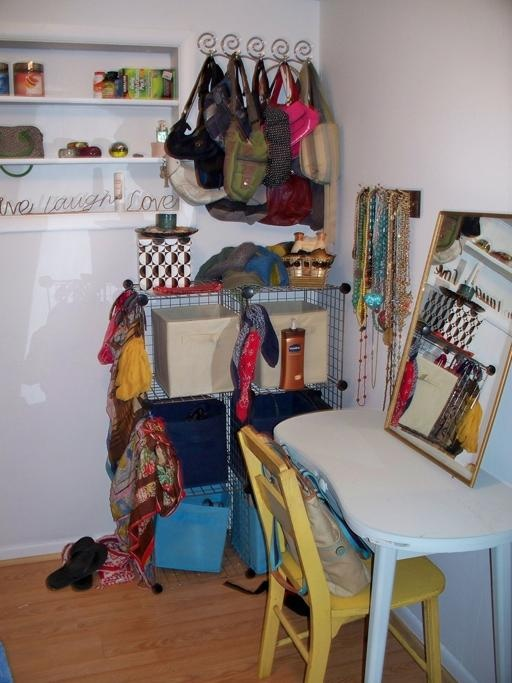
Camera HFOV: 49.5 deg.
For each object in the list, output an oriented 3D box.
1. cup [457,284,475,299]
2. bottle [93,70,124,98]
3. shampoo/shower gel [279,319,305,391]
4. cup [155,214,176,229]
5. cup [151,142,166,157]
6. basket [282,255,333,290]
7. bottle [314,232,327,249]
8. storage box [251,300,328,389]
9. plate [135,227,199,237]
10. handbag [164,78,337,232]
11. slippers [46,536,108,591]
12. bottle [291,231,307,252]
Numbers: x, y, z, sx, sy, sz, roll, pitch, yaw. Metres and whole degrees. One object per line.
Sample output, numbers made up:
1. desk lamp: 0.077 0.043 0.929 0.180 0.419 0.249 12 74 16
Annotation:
1. cup: 0.523 -0.125 1.377 0.032 0.024 0.031 4 3 0
2. bottle: -0.564 -0.990 2.169 0.116 0.114 0.121 3 15 5
3. shampoo/shower gel: 0.140 0.057 2.137 0.093 0.254 0.051 -1 10 -3
4. cup: -0.340 -0.457 2.106 0.065 0.059 0.064 1 16 0
5. cup: -0.394 -0.774 2.231 0.069 0.064 0.066 2 11 0
6. basket: 0.202 -0.272 2.167 0.143 0.091 0.146 0 1 -27
7. bottle: 0.249 -0.384 2.123 0.035 0.061 0.070 0 10 4
8. storage box: 0.160 -0.020 2.329 0.363 0.337 0.355 -1 12 -11
9. plate: -0.364 -0.422 2.120 0.243 0.046 0.114 3 10 17
10. handbag: -0.004 -0.767 2.195 0.697 0.655 0.262 -2 10 -8
11. slippers: -0.729 0.914 2.309 0.219 0.090 0.303 0 10 0
12. bottle: 0.164 -0.389 2.178 0.052 0.077 0.131 0 10 5
